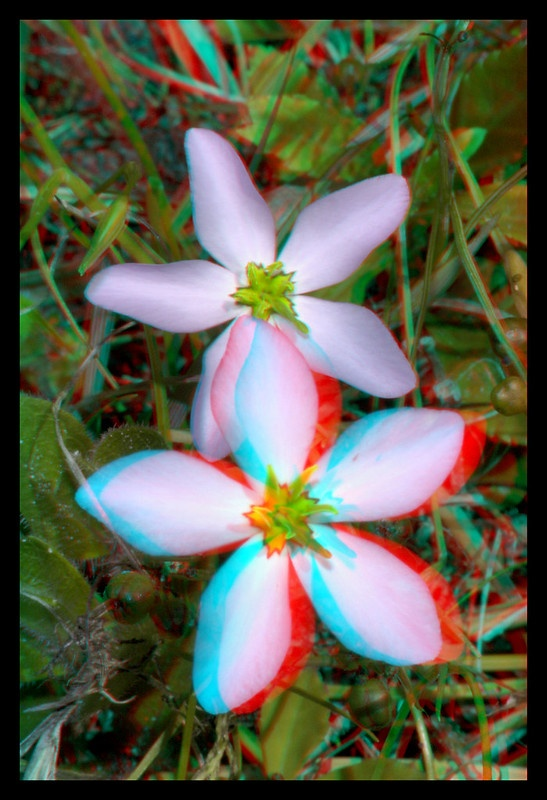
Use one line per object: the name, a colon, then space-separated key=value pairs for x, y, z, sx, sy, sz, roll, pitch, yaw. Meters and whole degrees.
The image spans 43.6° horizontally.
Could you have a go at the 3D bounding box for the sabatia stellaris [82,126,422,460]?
sabatia stellaris: x=-0.002 y=-0.074 z=0.460 sx=0.224 sy=0.223 sz=0.060 roll=-25 pitch=-40 yaw=34

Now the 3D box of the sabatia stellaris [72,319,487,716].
sabatia stellaris: x=-0.016 y=0.091 z=0.394 sx=0.203 sy=0.161 sz=0.226 roll=18 pitch=-51 yaw=-15
